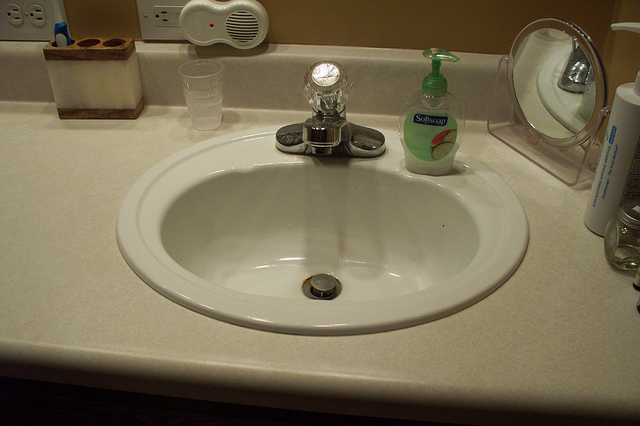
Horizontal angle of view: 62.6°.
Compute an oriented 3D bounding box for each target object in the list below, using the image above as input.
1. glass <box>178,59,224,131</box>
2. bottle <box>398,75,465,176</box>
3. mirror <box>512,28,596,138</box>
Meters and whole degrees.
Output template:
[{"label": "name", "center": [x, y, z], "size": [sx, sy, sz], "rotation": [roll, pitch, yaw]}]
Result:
[{"label": "glass", "center": [-0.255, -0.262, 1.167], "size": [0.099, 0.131, 0.107], "rotation": [-7, 29, -13]}, {"label": "bottle", "center": [0.214, -0.174, 1.002], "size": [0.131, 0.214, 0.062], "rotation": [8, 29, 18]}, {"label": "mirror", "center": [0.458, -0.253, 1.021], "size": [0.011, 0.206, 0.201], "rotation": [-17, 25, -33]}]
